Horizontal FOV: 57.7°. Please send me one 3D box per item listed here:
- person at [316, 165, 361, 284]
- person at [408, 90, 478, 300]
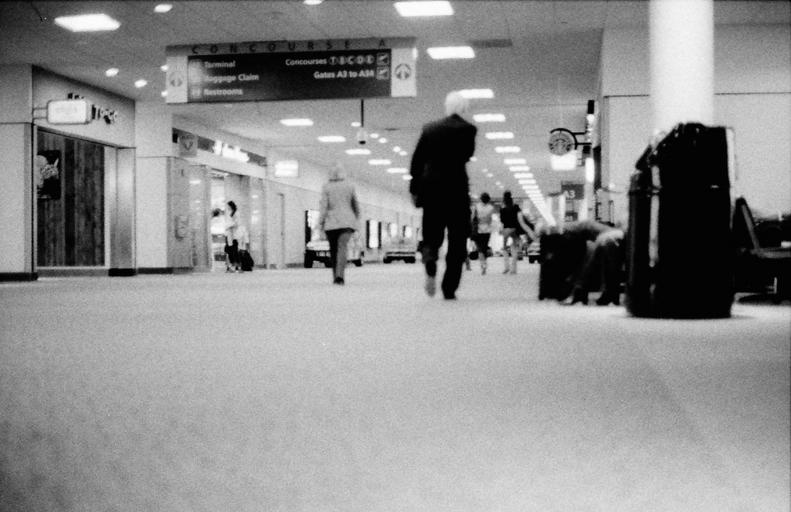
[{"bbox_3d":[-0.802,-0.412,10.259,0.583,1.694,0.859,-1,5,-5],"label":"person"},{"bbox_3d":[0.457,-0.552,6.796,0.608,1.993,0.539,1,5,21],"label":"person"}]
